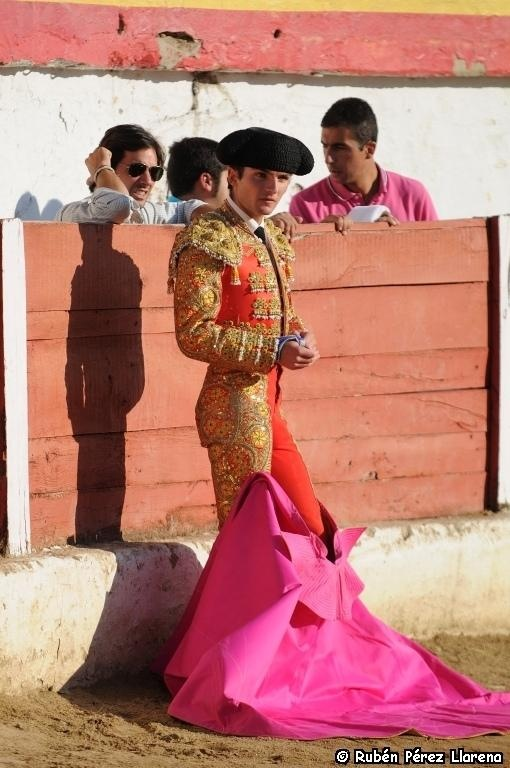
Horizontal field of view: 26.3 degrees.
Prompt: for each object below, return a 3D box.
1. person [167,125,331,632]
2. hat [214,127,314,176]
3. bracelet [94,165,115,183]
[{"bbox_3d":[-0.012,-0.120,2.842,0.422,1.065,0.452,0,10,-18],"label":"person"},{"bbox_3d":[0.057,-0.588,2.775,0.271,0.117,0.153,-2,10,-31],"label":"hat"},{"bbox_3d":[-0.502,-0.683,3.613,0.067,0.027,0.072,-4,2,2],"label":"bracelet"}]
